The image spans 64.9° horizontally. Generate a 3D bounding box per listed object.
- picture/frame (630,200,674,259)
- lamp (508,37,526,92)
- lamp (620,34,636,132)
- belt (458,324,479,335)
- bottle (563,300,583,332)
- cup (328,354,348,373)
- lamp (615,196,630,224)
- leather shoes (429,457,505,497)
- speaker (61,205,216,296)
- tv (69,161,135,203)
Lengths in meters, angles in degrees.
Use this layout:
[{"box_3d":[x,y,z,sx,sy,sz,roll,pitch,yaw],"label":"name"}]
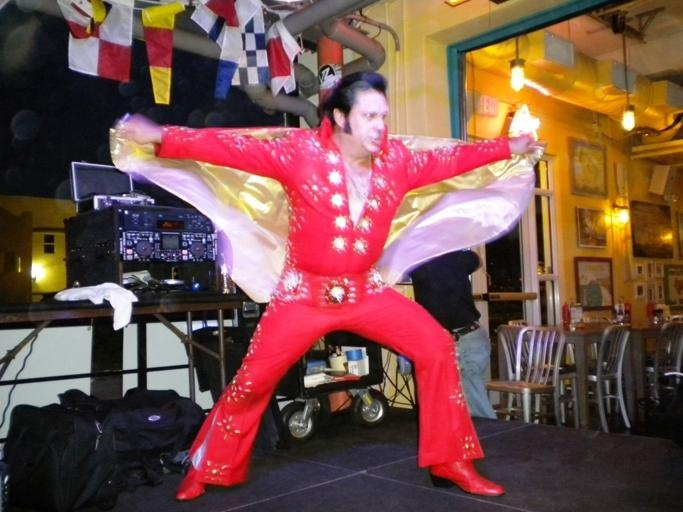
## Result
[{"box_3d":[5.643,-0.423,9.762,1.551,1.050,0.039,1,-4,-34],"label":"picture/frame"},{"box_3d":[1.780,-1.975,5.463,0.105,0.406,0.101,-2,21,9],"label":"lamp"},{"box_3d":[3.704,-2.282,6.971,0.171,0.164,1.517,6,-22,33],"label":"lamp"},{"box_3d":[0.921,0.541,3.940,0.104,0.025,0.104,-30,-14,32],"label":"belt"},{"box_3d":[2.684,0.711,6.272,0.242,0.367,0.228,-1,-1,0],"label":"bottle"},{"box_3d":[-0.028,0.815,4.027,0.124,0.116,0.120,-1,-7,0],"label":"cup"},{"box_3d":[4.640,-0.756,8.921,0.377,0.406,0.114,-3,0,-44],"label":"lamp"},{"box_3d":[0.590,1.081,2.686,0.450,0.198,0.149,-1,-4,11],"label":"leather shoes"},{"box_3d":[-1.369,-0.040,3.717,1.023,0.449,0.995,-5,-3,-7],"label":"speaker"},{"box_3d":[-1.662,-0.517,3.883,0.258,0.284,0.441,-1,5,31],"label":"tv"}]
